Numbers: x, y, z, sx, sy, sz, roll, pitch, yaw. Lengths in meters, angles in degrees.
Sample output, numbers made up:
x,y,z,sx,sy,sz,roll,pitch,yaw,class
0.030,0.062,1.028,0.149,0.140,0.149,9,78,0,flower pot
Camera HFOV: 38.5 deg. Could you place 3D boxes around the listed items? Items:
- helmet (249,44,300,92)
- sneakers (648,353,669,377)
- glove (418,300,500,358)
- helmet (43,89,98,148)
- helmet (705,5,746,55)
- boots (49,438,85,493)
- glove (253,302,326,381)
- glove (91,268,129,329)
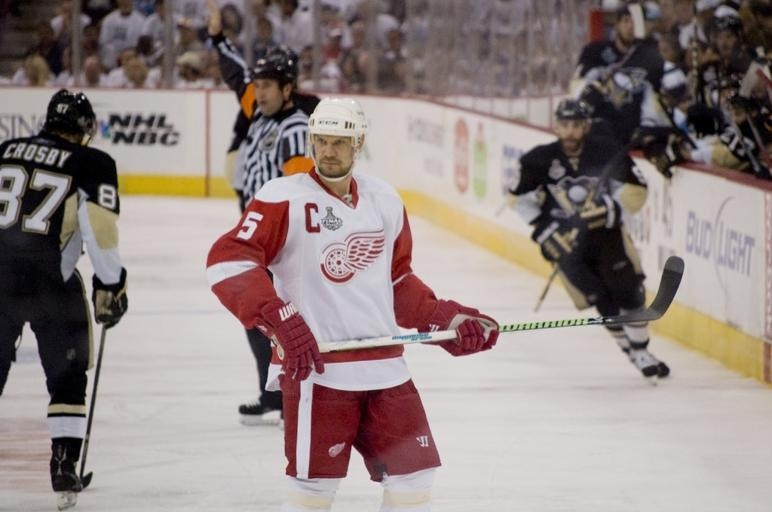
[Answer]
x,y,z,sx,sy,sz,roll,pitch,yaw,class
-0.570,-1.064,6.309,0.276,0.237,0.210,7,27,-28,helmet
1.720,0.690,6.981,0.074,0.121,0.120,-35,59,3,sneakers
0.347,0.368,4.897,0.373,0.146,0.260,-6,-11,27,glove
-1.566,-0.696,5.535,0.237,0.298,0.309,12,14,0,helmet
2.245,-1.561,7.593,0.232,0.272,0.299,-6,2,-7,helmet
-1.555,1.026,5.412,0.146,0.282,0.199,-4,18,-17,boots
-0.388,0.332,4.515,0.218,0.347,0.102,-37,5,-9,glove
-1.356,0.208,5.421,0.206,0.261,0.111,2,12,-6,glove
